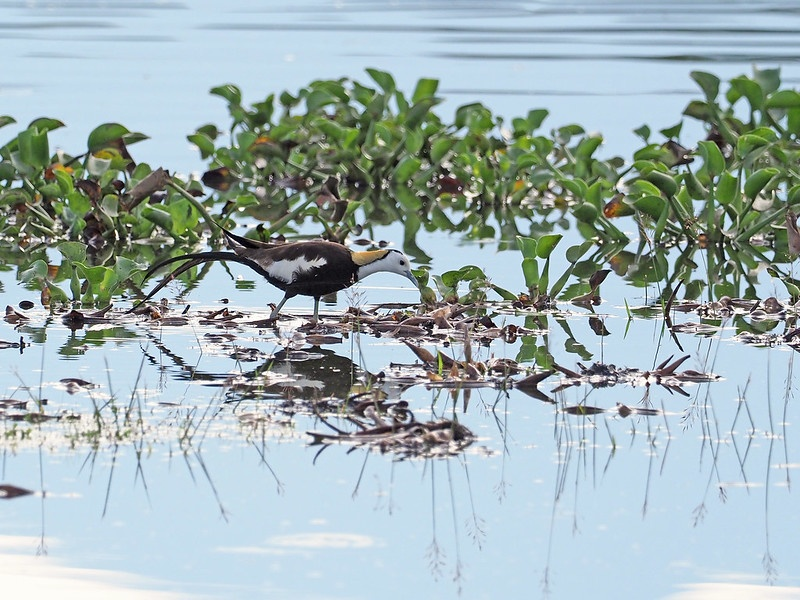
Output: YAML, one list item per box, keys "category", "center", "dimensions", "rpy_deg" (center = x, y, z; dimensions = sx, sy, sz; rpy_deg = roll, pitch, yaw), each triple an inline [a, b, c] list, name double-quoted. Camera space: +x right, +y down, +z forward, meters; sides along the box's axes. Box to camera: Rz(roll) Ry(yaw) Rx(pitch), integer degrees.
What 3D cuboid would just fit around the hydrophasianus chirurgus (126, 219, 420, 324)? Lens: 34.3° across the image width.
- category: "hydrophasianus chirurgus"
  center: [-1.074, -0.172, 11.567]
  dimensions: [2.377, 0.701, 0.602]
  rpy_deg: [6, 8, 3]
